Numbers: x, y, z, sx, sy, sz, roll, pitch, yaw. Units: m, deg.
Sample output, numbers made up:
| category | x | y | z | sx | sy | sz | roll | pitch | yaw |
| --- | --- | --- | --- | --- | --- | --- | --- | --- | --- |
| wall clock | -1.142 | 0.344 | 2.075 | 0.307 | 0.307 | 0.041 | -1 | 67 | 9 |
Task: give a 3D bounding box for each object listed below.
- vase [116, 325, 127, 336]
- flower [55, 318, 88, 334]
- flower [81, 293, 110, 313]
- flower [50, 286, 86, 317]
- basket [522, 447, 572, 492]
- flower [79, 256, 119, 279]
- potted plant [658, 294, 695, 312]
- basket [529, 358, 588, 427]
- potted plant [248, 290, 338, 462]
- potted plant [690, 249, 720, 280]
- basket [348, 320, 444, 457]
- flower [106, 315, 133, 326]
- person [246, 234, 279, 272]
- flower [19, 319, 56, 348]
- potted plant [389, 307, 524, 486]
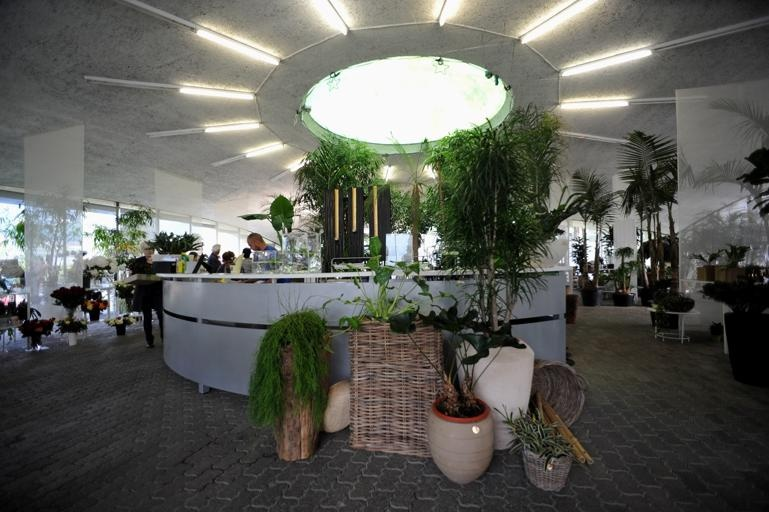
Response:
| category | x | y | z | sx | sy | sz | roll | pitch | yaw |
| --- | --- | --- | --- | --- | --- | --- | --- | --- | --- |
| vase | -6.054 | 1.702 | 10.607 | 0.229 | 0.285 | 0.231 | -1 | -10 | -4 |
| flower | -6.473 | 1.413 | 9.641 | 0.435 | 0.287 | 0.440 | -2 | -3 | -2 |
| flower | -6.464 | 1.009 | 10.210 | 0.430 | 0.259 | 0.431 | -3 | -1 | -6 |
| flower | -6.642 | 0.871 | 9.713 | 0.643 | 0.667 | 0.643 | 0 | 4 | -17 |
| basket | 2.039 | 2.628 | 5.798 | 0.640 | 0.455 | 0.660 | -1 | -16 | 22 |
| flower | -6.532 | 0.223 | 10.721 | 0.731 | 0.519 | 0.723 | 2 | 0 | 22 |
| potted plant | 6.104 | 0.958 | 9.701 | 0.628 | 0.353 | 0.650 | 0 | 0 | 29 |
| basket | 2.655 | 1.933 | 6.717 | 0.717 | 0.624 | 0.803 | 14 | -7 | -7 |
| potted plant | -1.230 | 1.673 | 5.996 | 1.022 | 1.856 | 0.361 | -1 | 1 | -5 |
| potted plant | 6.619 | 0.191 | 9.541 | 0.503 | 0.613 | 0.598 | 3 | -4 | -10 |
| basket | 0.175 | 1.824 | 6.706 | 1.611 | 2.276 | 1.510 | 0 | -2 | 11 |
| flower | -6.059 | 1.466 | 10.657 | 0.374 | 0.193 | 0.384 | 1 | -2 | 11 |
| person | -1.959 | -0.086 | 7.382 | 0.404 | 0.611 | 0.936 | -1 | 0 | -19 |
| flower | -6.925 | 1.541 | 9.193 | 0.538 | 0.552 | 0.525 | 2 | 2 | -44 |
| potted plant | 1.052 | 1.670 | 6.768 | 1.892 | 2.418 | 2.114 | -1 | 0 | 7 |
